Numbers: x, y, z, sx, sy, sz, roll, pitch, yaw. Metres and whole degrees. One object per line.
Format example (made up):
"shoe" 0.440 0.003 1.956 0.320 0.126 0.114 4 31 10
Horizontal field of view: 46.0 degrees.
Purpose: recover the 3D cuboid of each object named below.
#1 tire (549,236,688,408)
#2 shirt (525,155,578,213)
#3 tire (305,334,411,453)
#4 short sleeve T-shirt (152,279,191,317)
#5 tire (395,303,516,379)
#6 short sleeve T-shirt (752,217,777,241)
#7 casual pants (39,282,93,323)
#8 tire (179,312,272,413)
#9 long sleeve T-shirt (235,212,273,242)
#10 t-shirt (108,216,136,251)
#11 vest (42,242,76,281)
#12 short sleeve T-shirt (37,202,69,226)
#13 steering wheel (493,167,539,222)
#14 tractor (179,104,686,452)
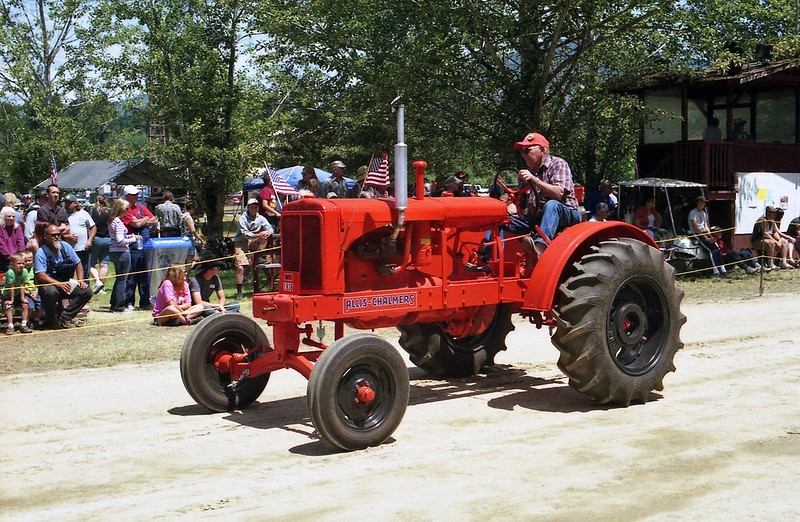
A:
"tire" 2.690 0.776 11.878 2.422 2.109 0.710 -2 3 -34
"shirt" 1.996 -0.981 12.662 0.718 0.759 1.040 0 -2 -21
"tire" -0.489 1.541 10.732 0.363 1.040 0.946 7 53 45
"short sleeve T-shirt" -3.831 0.622 16.038 0.641 0.585 0.567 11 -7 -23
"tire" 0.780 1.201 12.807 1.241 0.294 1.212 -24 28 -33
"short sleeve T-shirt" 8.924 -0.795 23.172 0.400 0.502 0.731 -5 -4 43
"casual pants" -5.746 0.690 16.053 0.769 0.681 0.656 22 13 18
"tire" -2.141 1.292 11.681 0.324 1.016 0.999 -13 19 49
"long sleeve T-shirt" -2.832 -0.713 18.462 0.529 0.423 0.673 -4 9 -26
"t-shirt" -5.350 -0.493 18.066 0.626 0.766 0.796 -7 13 -16
"vest" -5.840 -0.034 16.135 0.541 0.601 0.357 -20 36 -19
"short sleeve T-shirt" -6.353 -0.875 17.288 0.575 0.420 0.315 0 -5 -45
"steering wheel" 1.536 -0.991 12.585 0.305 0.796 0.901 -13 -14 38
"tractor" 0.752 0.018 12.832 6.499 3.770 3.845 0 0 -35
